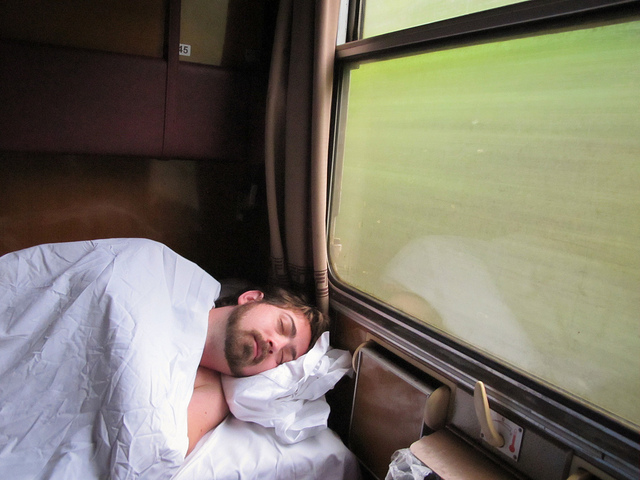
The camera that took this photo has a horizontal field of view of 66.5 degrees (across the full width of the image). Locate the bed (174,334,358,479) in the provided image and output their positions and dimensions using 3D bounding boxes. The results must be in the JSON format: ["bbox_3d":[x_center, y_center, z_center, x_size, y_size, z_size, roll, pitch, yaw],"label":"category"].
[{"bbox_3d":[-0.209,0.771,2.008,0.536,0.567,0.130,-5,-7,-25],"label":"bed"}]

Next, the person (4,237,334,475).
[{"bbox_3d":[-0.598,0.450,2.007,1.102,0.793,0.330,-1,-33,-44],"label":"person"}]

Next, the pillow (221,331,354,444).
[{"bbox_3d":[-0.138,0.694,2.228,0.466,0.390,0.143,-21,-6,-35],"label":"pillow"}]
